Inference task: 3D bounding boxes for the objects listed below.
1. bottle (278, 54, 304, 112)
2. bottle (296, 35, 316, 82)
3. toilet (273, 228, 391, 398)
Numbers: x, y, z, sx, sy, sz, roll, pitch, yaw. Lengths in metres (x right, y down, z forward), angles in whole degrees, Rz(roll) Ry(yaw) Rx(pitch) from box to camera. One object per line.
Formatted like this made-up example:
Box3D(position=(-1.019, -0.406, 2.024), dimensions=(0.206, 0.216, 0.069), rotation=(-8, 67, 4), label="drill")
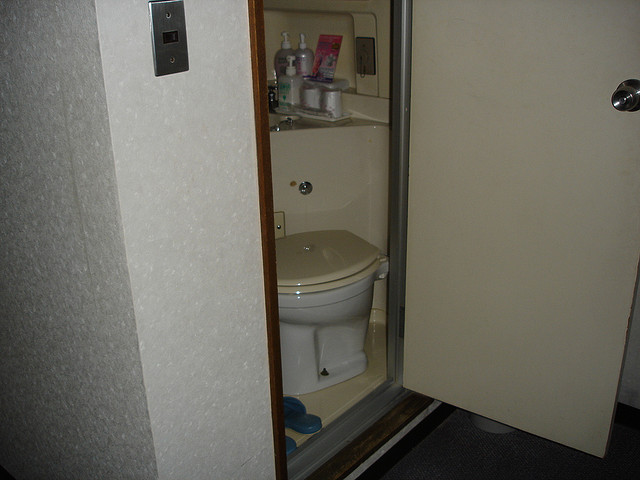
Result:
Box3D(position=(-0.114, -0.633, 2.277), dimensions=(0.110, 0.204, 0.119), rotation=(0, 23, 0), label="bottle")
Box3D(position=(-0.057, -0.721, 2.264), dimensions=(0.097, 0.177, 0.057), rotation=(-9, 16, -24), label="bottle")
Box3D(position=(-0.015, 0.262, 2.121), dimensions=(0.498, 0.481, 0.437), rotation=(-10, 24, -12), label="toilet")
